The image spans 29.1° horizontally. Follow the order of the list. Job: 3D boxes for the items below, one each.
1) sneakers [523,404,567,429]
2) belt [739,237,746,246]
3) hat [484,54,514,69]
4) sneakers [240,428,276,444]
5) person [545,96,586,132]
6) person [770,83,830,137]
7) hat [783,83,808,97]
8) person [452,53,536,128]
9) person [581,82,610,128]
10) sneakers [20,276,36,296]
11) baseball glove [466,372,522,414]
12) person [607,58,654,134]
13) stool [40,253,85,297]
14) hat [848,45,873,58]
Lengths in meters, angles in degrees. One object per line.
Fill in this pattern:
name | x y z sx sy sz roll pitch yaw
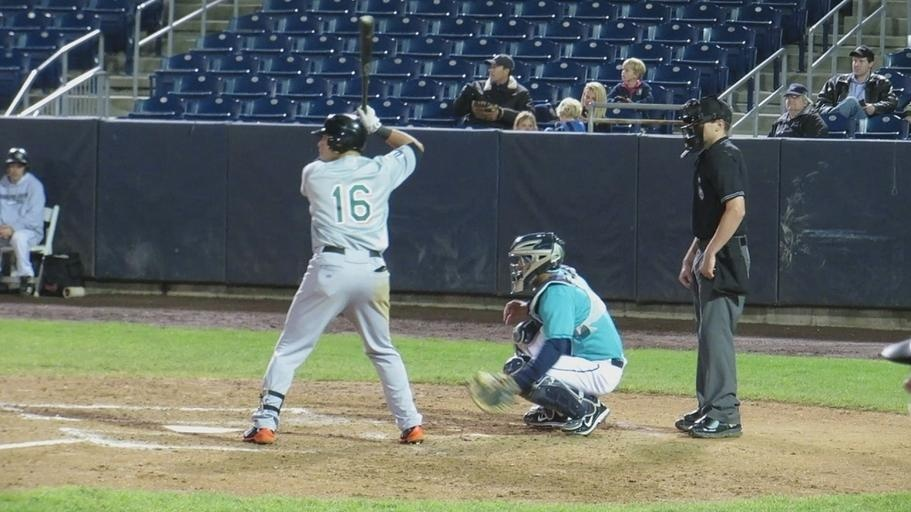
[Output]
sneakers | 1.236 2.276 25.198 0.684 0.263 0.262 6 2 16
belt | 4.059 -0.234 24.904 0.065 0.105 0.121 -3 -2 38
hat | 0.774 -3.457 31.007 0.387 0.270 0.529 1 2 -4
sneakers | -2.790 2.460 24.360 0.429 0.176 0.193 6 6 30
person | 1.961 -2.482 31.048 0.577 0.519 0.732 1 -5 -1
person | 6.087 -2.579 30.985 0.727 1.132 1.258 1 1 -35
hat | 5.864 -2.826 30.040 0.358 0.156 0.252 10 6 -21
person | 0.590 -2.928 31.361 1.334 1.264 0.825 3 2 41
person | 2.465 -2.655 30.888 0.509 0.917 1.320 2 2 3
sneakers | -7.634 0.502 30.925 0.303 0.309 0.298 3 4 30
baseball glove | 0.514 1.870 24.482 0.729 0.518 0.213 1 2 -1
person | 3.072 -2.795 31.173 1.024 1.340 0.911 -7 13 -29
stool | -7.203 0.241 31.239 0.703 0.635 0.594 4 19 9
hat | 7.136 -3.585 30.800 0.399 0.149 0.262 7 3 -17
